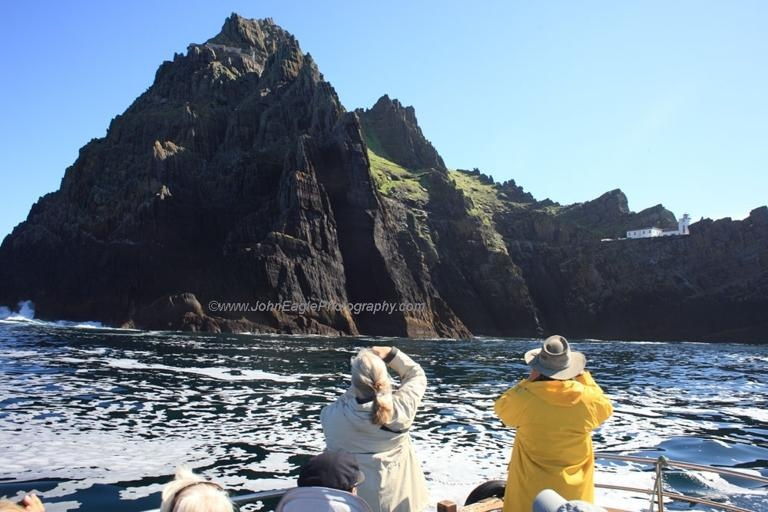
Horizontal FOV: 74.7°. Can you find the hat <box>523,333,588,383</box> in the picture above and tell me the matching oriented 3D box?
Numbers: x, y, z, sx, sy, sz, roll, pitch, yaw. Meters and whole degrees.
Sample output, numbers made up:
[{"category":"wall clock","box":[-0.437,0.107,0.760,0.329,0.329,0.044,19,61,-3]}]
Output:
[{"category":"hat","box":[2.443,1.413,7.234,0.835,0.296,0.851,7,25,32]}]

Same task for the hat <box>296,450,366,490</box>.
[{"category":"hat","box":[-0.598,2.554,6.011,0.634,0.288,0.457,0,5,-42]}]
